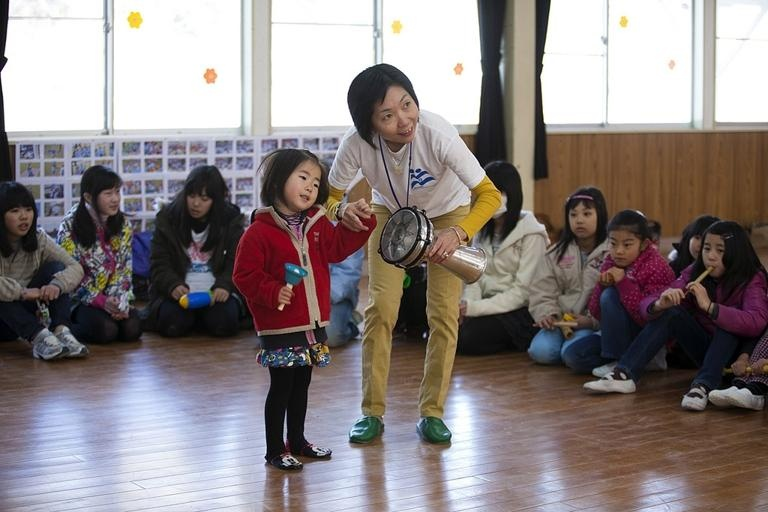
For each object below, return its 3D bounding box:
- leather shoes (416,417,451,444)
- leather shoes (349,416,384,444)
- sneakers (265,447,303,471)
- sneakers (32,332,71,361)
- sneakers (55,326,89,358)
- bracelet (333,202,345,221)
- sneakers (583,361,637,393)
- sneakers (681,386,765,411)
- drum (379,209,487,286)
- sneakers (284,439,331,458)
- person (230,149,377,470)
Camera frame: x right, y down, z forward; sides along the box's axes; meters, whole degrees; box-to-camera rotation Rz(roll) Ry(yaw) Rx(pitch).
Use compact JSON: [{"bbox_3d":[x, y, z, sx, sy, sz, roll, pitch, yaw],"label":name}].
[{"bbox_3d":[0.204,0.712,2.574,0.077,0.062,0.144,-9,7,-28],"label":"leather shoes"},{"bbox_3d":[-0.087,0.717,2.569,0.075,0.061,0.144,-2,-5,21],"label":"leather shoes"},{"bbox_3d":[-0.378,0.761,2.370,0.122,0.070,0.113,-3,11,-19],"label":"sneakers"},{"bbox_3d":[-1.870,0.500,3.503,0.118,0.154,0.240,-9,14,-42],"label":"sneakers"},{"bbox_3d":[-1.771,0.487,3.537,0.318,0.143,0.108,10,10,43],"label":"sneakers"},{"bbox_3d":[-0.176,-0.178,2.481,0.023,0.061,0.053,9,0,-18],"label":"bracelet"},{"bbox_3d":[1.117,0.621,3.137,0.333,0.150,0.113,3,-4,-11],"label":"sneakers"},{"bbox_3d":[1.548,0.653,2.848,0.233,0.076,0.171,15,-15,-27],"label":"sneakers"},{"bbox_3d":[0.200,-0.018,2.474,0.404,0.227,0.230,21,-13,-34],"label":"drum"},{"bbox_3d":[-0.302,0.758,2.478,0.174,0.053,0.068,1,2,15],"label":"sneakers"},{"bbox_3d":[-0.331,0.189,2.432,0.473,1.191,0.338,-8,13,-38],"label":"person"}]
